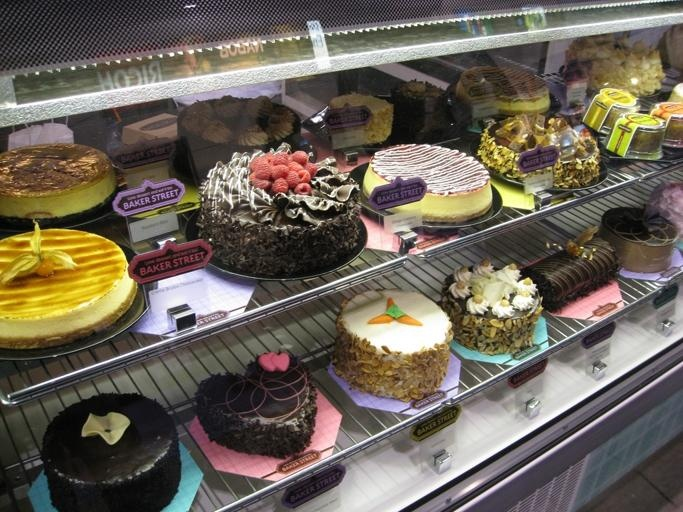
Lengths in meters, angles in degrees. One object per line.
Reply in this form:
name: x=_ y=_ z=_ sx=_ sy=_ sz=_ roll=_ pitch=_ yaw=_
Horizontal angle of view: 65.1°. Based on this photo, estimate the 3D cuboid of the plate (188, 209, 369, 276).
plate: x=-0.170 y=-0.024 z=2.020 sx=0.508 sy=0.018 sz=0.393 roll=-6 pitch=33 yaw=-16

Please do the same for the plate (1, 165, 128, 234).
plate: x=-1.112 y=-0.207 z=2.126 sx=0.423 sy=0.070 sz=0.356 roll=-13 pitch=32 yaw=-27

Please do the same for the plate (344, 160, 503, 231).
plate: x=0.413 y=-0.249 z=2.454 sx=0.582 sy=0.052 sz=0.422 roll=6 pitch=32 yaw=5

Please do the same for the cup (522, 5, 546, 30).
cup: x=0.811 y=-1.000 z=2.238 sx=0.092 sy=0.074 sz=0.163 roll=6 pitch=36 yaw=15
